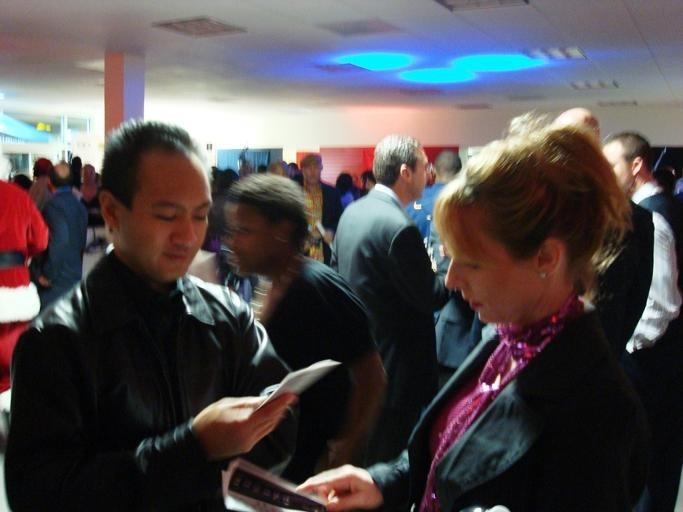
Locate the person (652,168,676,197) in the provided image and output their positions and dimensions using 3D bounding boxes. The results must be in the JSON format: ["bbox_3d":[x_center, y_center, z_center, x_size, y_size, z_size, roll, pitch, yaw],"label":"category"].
[{"bbox_3d":[2.692,-0.615,4.924,0.190,0.194,0.755,7,16,27],"label":"person"}]

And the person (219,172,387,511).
[{"bbox_3d":[-0.225,0.287,3.129,0.749,2.491,0.912,-1,-2,-11],"label":"person"}]
